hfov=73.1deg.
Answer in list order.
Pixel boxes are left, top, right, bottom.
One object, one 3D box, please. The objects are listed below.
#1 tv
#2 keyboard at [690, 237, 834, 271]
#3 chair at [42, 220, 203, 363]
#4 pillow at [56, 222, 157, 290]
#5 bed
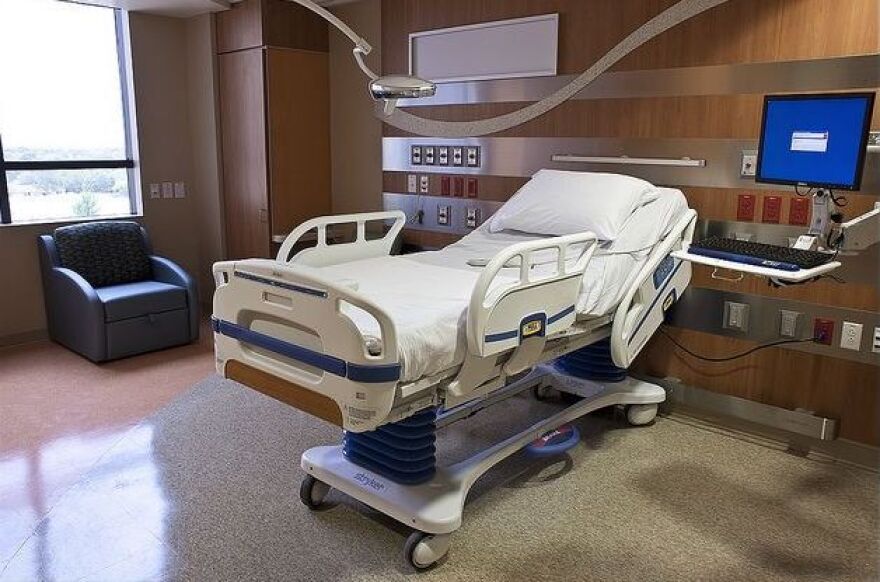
[{"bbox_3d":[1.959,-0.772,3.081,0.063,0.495,0.614,-10,17,-39],"label":"tv"},{"bbox_3d":[1.645,-0.190,3.086,0.633,0.072,0.330,12,20,35],"label":"keyboard"},{"bbox_3d":[-2.776,-0.107,5.564,1.442,1.248,1.088,11,16,38],"label":"chair"},{"bbox_3d":[-2.941,-0.300,5.186,0.594,0.239,0.433,-9,62,-34],"label":"pillow"},{"bbox_3d":[0.195,0.098,3.960,3.164,1.794,1.869,-13,18,-40],"label":"bed"}]
